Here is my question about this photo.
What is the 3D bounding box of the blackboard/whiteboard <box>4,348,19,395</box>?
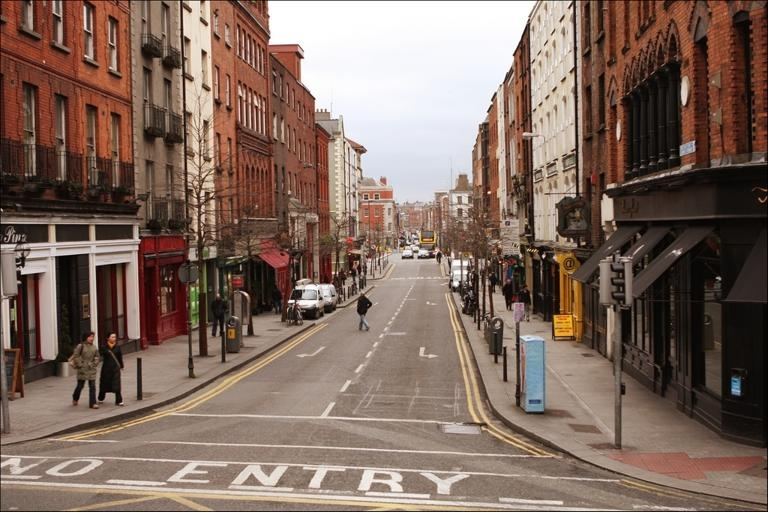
[{"bbox_3d":[-11.781,3.683,28.057,0.402,1.523,0.517,-3,1,-34],"label":"blackboard/whiteboard"}]

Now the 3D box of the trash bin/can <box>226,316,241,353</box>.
[{"bbox_3d":[-6.429,3.346,37.672,0.628,1.456,0.557,-2,1,-10],"label":"trash bin/can"}]

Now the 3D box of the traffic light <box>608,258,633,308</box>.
[{"bbox_3d":[6.248,0.709,23.177,0.505,0.956,0.364,-2,1,23],"label":"traffic light"}]

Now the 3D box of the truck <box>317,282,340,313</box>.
[{"bbox_3d":[-3.779,2.915,59.584,1.637,1.234,3.121,0,-4,-1],"label":"truck"}]

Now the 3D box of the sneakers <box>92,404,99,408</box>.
[{"bbox_3d":[-8.844,4.589,27.040,0.218,0.097,0.081,-6,1,28],"label":"sneakers"}]

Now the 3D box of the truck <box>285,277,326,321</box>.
[{"bbox_3d":[-4.900,2.785,54.690,2.123,2.317,4.498,-1,-5,0],"label":"truck"}]

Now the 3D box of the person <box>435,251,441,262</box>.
[{"bbox_3d":[8.284,0.268,133.077,0.341,1.444,1.343,-2,0,13],"label":"person"}]

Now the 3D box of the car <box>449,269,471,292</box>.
[{"bbox_3d":[6.360,2.105,73.807,1.567,1.331,3.523,-1,-6,1],"label":"car"}]

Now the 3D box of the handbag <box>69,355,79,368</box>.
[{"bbox_3d":[-9.544,3.215,27.061,0.265,0.359,0.594,-3,0,-28],"label":"handbag"}]
